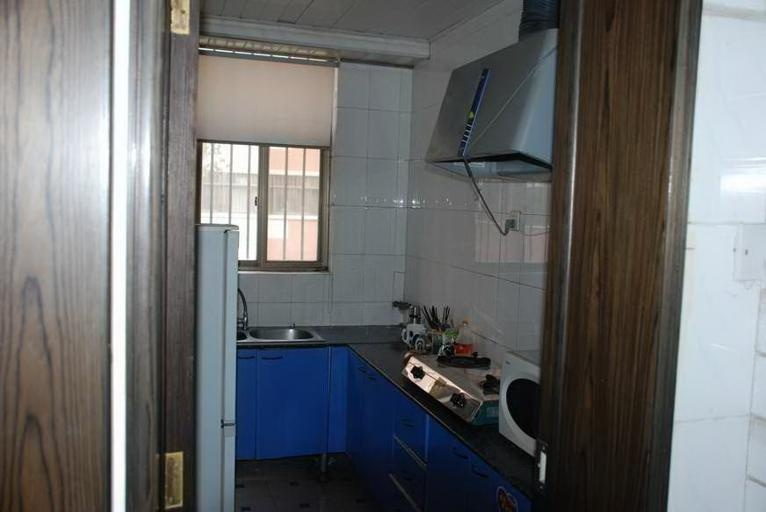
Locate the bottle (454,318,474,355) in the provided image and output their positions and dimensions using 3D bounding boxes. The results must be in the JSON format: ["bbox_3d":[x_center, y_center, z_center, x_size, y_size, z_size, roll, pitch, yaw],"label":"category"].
[{"bbox_3d":[0.501,0.493,3.864,0.099,0.126,0.104,14,-19,5],"label":"bottle"}]

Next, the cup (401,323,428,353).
[{"bbox_3d":[0.219,0.531,3.979,0.063,0.175,0.128,7,-6,-42],"label":"cup"}]

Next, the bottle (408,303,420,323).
[{"bbox_3d":[0.226,0.418,4.398,0.096,0.181,0.119,2,-4,3],"label":"bottle"}]

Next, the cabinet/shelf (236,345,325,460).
[{"bbox_3d":[-0.726,1.000,4.305,0.633,0.728,0.472,1,-6,-19],"label":"cabinet/shelf"}]
